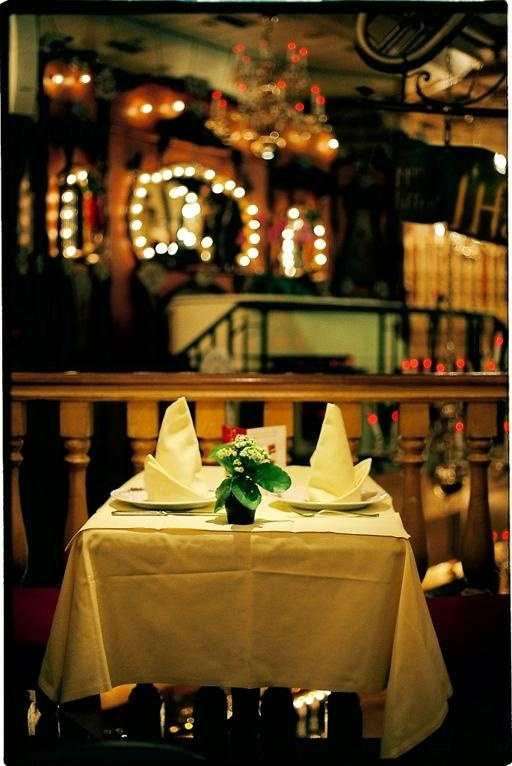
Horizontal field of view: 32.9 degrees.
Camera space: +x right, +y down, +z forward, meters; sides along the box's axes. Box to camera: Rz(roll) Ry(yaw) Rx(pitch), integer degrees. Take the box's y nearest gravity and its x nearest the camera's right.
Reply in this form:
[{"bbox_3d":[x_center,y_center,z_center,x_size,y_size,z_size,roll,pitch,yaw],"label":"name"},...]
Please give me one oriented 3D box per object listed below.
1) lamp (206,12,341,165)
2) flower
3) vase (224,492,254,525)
[{"bbox_3d":[0.036,-1.202,3.894,0.541,0.679,0.522,7,-5,-3],"label":"lamp"},{"bbox_3d":[-0.017,0.214,2.187,0.154,0.115,0.206,-2,33,-20],"label":"flower"},{"bbox_3d":[-0.047,0.318,2.161,0.079,0.055,0.073,-5,-8,43],"label":"vase"}]
